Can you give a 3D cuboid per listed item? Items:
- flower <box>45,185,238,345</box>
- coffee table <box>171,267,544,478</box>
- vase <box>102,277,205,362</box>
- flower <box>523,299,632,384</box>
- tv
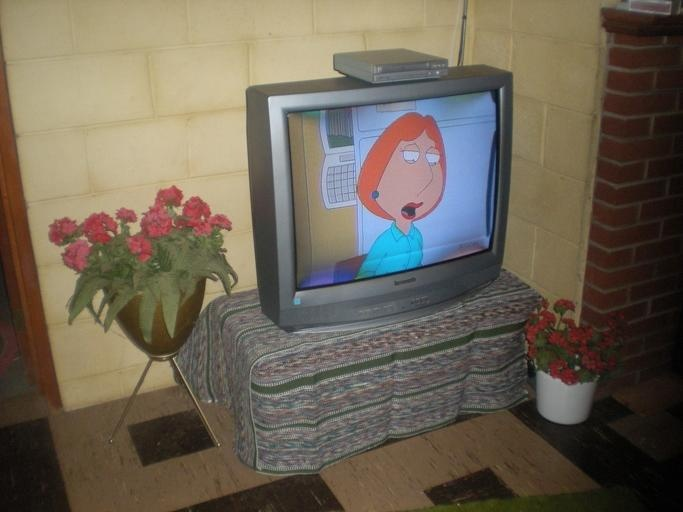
[{"bbox_3d":[-0.797,0.045,2.356,0.638,0.492,0.666,-9,13,-6],"label":"flower"},{"bbox_3d":[0.131,0.475,2.363,1.225,0.448,0.745,-16,44,-13],"label":"coffee table"},{"bbox_3d":[-0.785,0.260,2.335,0.414,0.320,0.426,-6,-7,40],"label":"vase"},{"bbox_3d":[0.964,0.420,2.456,0.323,0.188,0.307,6,-7,8],"label":"flower"},{"bbox_3d":[0.143,-0.213,2.126,0.905,0.829,0.358,-9,26,-19],"label":"tv"}]
